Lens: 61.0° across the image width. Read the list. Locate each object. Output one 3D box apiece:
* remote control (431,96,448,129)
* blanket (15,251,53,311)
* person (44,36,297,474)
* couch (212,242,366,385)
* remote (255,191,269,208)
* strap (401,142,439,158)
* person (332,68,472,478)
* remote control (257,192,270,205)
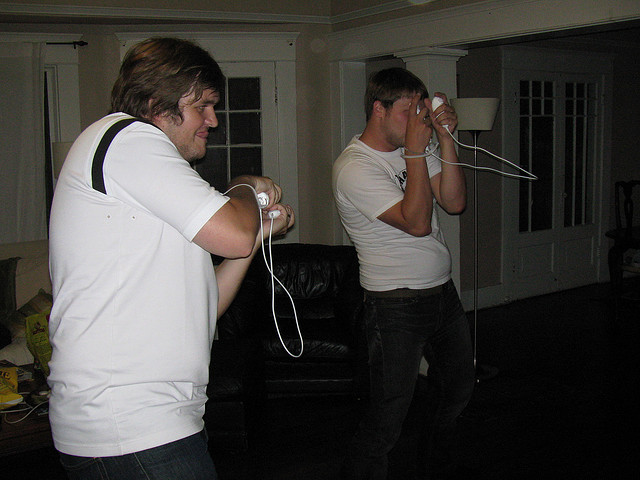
[{"bbox_3d":[0.494,-0.522,2.243,0.071,0.139,0.156,0,9,12],"label":"remote control"},{"bbox_3d":[-2.010,0.292,3.776,0.214,0.304,0.241,-6,9,-25],"label":"blanket"},{"bbox_3d":[-0.562,-0.186,2.377,0.912,2.522,0.807,-3,10,-22],"label":"person"},{"bbox_3d":[-0.131,0.521,3.784,1.015,0.614,1.069,4,12,5],"label":"couch"},{"bbox_3d":[-0.160,-0.108,1.490,0.027,0.041,0.012,6,2,-14],"label":"remote"},{"bbox_3d":[0.422,-0.362,2.253,0.093,0.050,0.431,1,10,19],"label":"strap"},{"bbox_3d":[0.340,0.130,2.248,0.610,1.666,0.488,-3,7,-10],"label":"person"},{"bbox_3d":[-0.159,-0.110,1.497,0.014,0.032,0.038,5,11,39],"label":"remote control"}]
